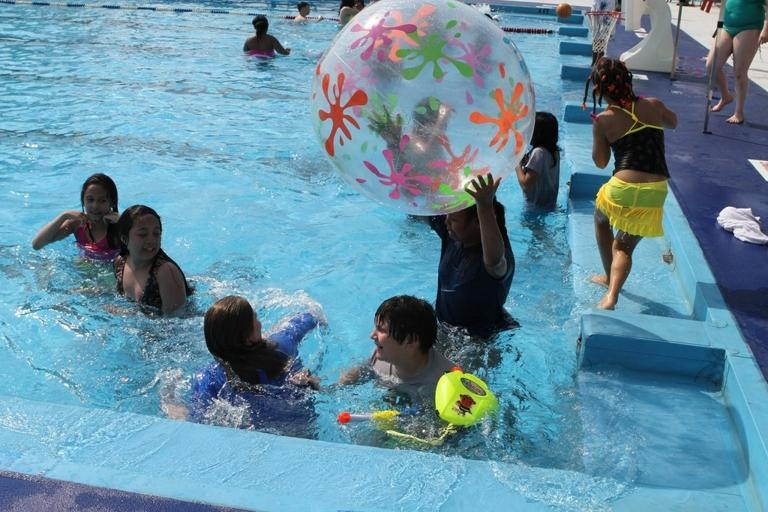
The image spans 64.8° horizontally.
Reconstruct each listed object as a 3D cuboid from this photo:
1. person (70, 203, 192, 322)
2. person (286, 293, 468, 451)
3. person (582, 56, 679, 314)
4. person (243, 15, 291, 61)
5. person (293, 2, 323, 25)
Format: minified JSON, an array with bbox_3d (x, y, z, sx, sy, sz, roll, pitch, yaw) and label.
[{"bbox_3d":[-2.097,0.045,5.333,0.718,0.972,0.354,7,24,18],"label":"person"},{"bbox_3d":[0.068,0.991,4.395,0.980,1.383,0.639,13,18,36],"label":"person"},{"bbox_3d":[2.217,-0.690,5.559,0.678,2.121,0.830,-8,24,-16],"label":"person"},{"bbox_3d":[-2.625,-4.911,13.560,1.016,0.860,0.590,-5,23,-12],"label":"person"},{"bbox_3d":[-2.020,-7.117,17.691,1.201,0.644,0.575,-22,31,-34],"label":"person"}]
